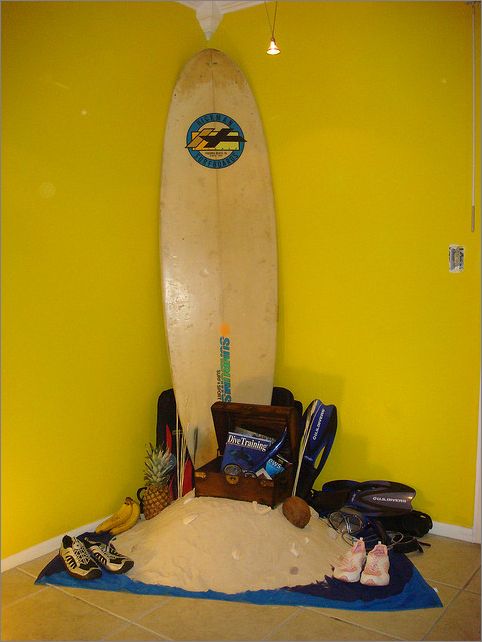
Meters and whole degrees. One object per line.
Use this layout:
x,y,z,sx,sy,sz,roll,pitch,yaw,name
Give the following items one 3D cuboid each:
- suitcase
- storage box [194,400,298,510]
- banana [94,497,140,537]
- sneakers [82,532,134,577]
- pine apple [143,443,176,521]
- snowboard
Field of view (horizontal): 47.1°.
0.044,0.555,2.446,0.396,0.435,0.339,2,6,28,suitcase
0.045,0.560,2.454,0.390,0.434,0.335,3,6,28,storage box
-0.539,0.915,2.534,0.236,0.149,0.134,-11,14,-43,banana
-0.523,0.923,2.207,0.246,0.095,0.090,-1,-2,43,sneakers
-0.398,0.779,2.639,0.128,0.299,0.126,-6,-21,19,pine apple
-0.113,-0.382,2.813,0.538,2.221,0.270,-7,8,-26,snowboard
